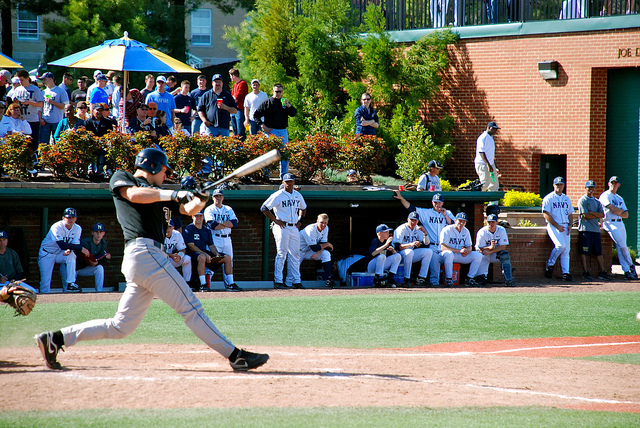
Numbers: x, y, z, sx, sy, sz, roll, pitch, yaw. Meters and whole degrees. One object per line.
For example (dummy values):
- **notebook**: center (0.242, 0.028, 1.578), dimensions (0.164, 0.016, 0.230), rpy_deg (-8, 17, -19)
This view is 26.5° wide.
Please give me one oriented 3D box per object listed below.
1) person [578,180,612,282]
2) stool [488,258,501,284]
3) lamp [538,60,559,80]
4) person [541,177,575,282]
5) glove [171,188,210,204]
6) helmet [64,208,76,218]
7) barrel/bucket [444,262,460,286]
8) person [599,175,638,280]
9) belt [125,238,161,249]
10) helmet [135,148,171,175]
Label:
- **person**: center (7.225, 0.406, 36.085), dimensions (0.752, 1.917, 0.618), rpy_deg (0, 0, -1)
- **stool**: center (4.534, 1.473, 35.479), dimensions (0.359, 0.456, 0.669), rpy_deg (-4, -1, 19)
- **lamp**: center (6.748, -4.248, 40.213), dimensions (0.538, 0.439, 0.394), rpy_deg (0, 0, 34)
- **person**: center (6.245, 0.463, 35.870), dimensions (0.882, 2.596, 0.703), rpy_deg (-1, -2, -3)
- **glove**: center (-2.517, -0.352, 26.295), dimensions (0.705, 0.252, 0.278), rpy_deg (0, 0, -3)
- **helmet**: center (-6.056, -0.038, 32.888), dimensions (0.227, 0.154, 0.300), rpy_deg (4, -5, -24)
- **barrel/bucket**: center (3.379, 1.543, 34.793), dimensions (0.529, 0.701, 0.563), rpy_deg (0, 0, 0)
- **person**: center (7.939, 0.349, 36.473), dimensions (1.058, 2.720, 0.862), rpy_deg (-3, -1, 0)
- **belt**: center (-3.416, 0.567, 26.521), dimensions (0.701, 0.204, 0.197), rpy_deg (0, 0, -8)
- **helmet**: center (-3.271, -1.092, 26.787), dimensions (0.622, 0.463, 0.478), rpy_deg (11, 6, -12)
